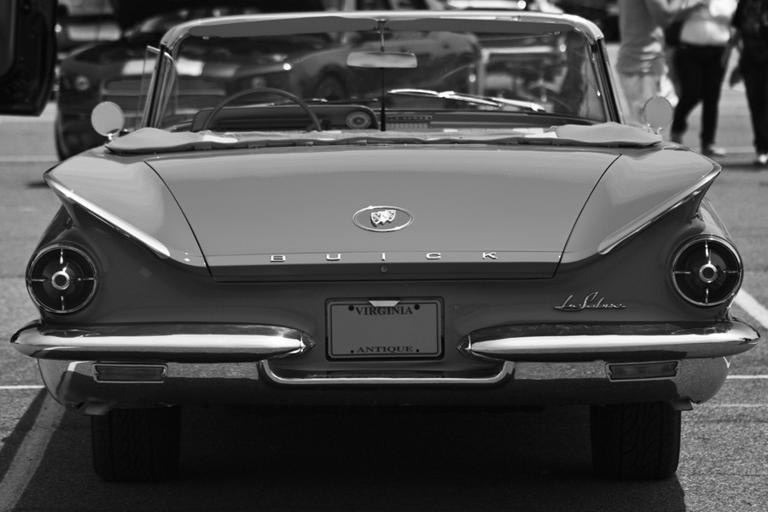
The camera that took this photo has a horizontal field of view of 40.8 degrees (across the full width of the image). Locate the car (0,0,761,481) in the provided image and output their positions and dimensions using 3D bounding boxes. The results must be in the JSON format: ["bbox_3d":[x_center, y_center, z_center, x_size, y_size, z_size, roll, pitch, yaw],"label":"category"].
[{"bbox_3d":[0.005,-0.150,4.562,2.782,1.148,2.105,1,57,0],"label":"car"}]
